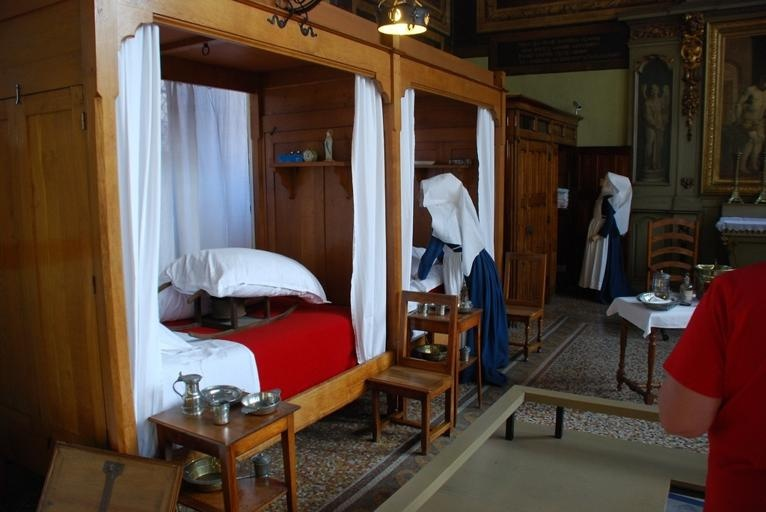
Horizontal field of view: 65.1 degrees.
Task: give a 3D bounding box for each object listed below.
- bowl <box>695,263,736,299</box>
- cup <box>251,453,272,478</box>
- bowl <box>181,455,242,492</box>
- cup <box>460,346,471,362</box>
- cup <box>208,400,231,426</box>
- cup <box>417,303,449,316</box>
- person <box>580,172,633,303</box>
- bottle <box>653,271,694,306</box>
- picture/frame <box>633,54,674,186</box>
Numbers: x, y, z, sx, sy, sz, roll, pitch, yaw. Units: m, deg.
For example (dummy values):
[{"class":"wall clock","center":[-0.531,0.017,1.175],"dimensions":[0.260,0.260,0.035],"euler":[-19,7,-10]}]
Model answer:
[{"class":"bowl","center":[2.989,0.220,5.428],"dimensions":[0.318,0.367,0.369],"euler":[8,12,39]},{"class":"cup","center":[-0.770,1.320,3.834],"dimensions":[0.133,0.177,0.132],"euler":[1,0,0]},{"class":"bowl","center":[-1.101,1.370,3.763],"dimensions":[0.312,0.122,0.308],"euler":[-8,3,0]},{"class":"cup","center":[0.743,0.891,5.463],"dimensions":[0.118,0.126,0.124],"euler":[0,2,0]},{"class":"cup","center":[-0.960,0.924,3.540],"dimensions":[0.125,0.106,0.100],"euler":[2,4,30]},{"class":"cup","center":[0.418,0.471,5.233],"dimensions":[0.174,0.066,0.148],"euler":[1,4,8]},{"class":"person","center":[3.364,-0.275,9.061],"dimensions":[0.704,1.897,0.499],"euler":[1,9,14]},{"class":"bottle","center":[2.834,0.318,5.868],"dimensions":[0.375,0.342,0.169],"euler":[0,-1,2]},{"class":"picture/frame","center":[4.256,-2.116,9.467],"dimensions":[0.524,1.964,0.120],"euler":[3,9,23]}]
